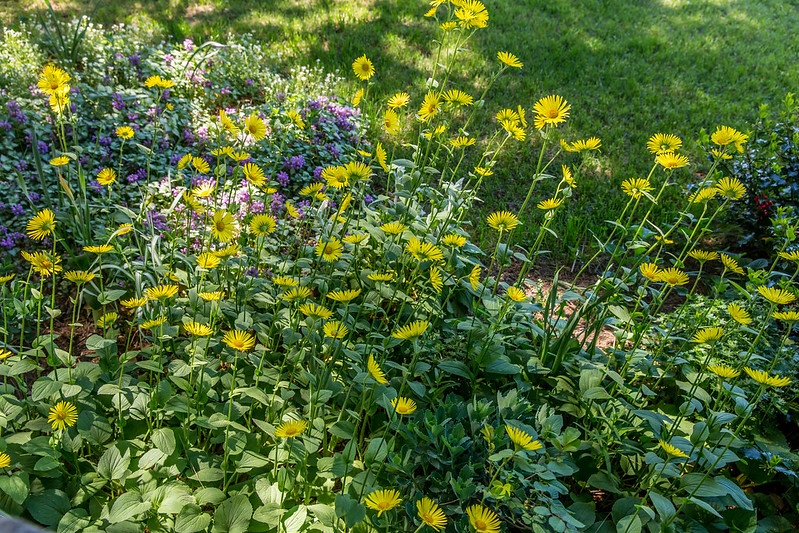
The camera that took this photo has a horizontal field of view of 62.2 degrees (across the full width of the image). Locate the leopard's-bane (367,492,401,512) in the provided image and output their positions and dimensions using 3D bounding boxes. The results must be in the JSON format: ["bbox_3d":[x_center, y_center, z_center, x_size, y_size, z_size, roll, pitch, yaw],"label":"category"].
[{"bbox_3d":[-0.083,1.169,3.333,0.126,0.052,0.129,-5,4,-9],"label":"leopard's-bane"}]
